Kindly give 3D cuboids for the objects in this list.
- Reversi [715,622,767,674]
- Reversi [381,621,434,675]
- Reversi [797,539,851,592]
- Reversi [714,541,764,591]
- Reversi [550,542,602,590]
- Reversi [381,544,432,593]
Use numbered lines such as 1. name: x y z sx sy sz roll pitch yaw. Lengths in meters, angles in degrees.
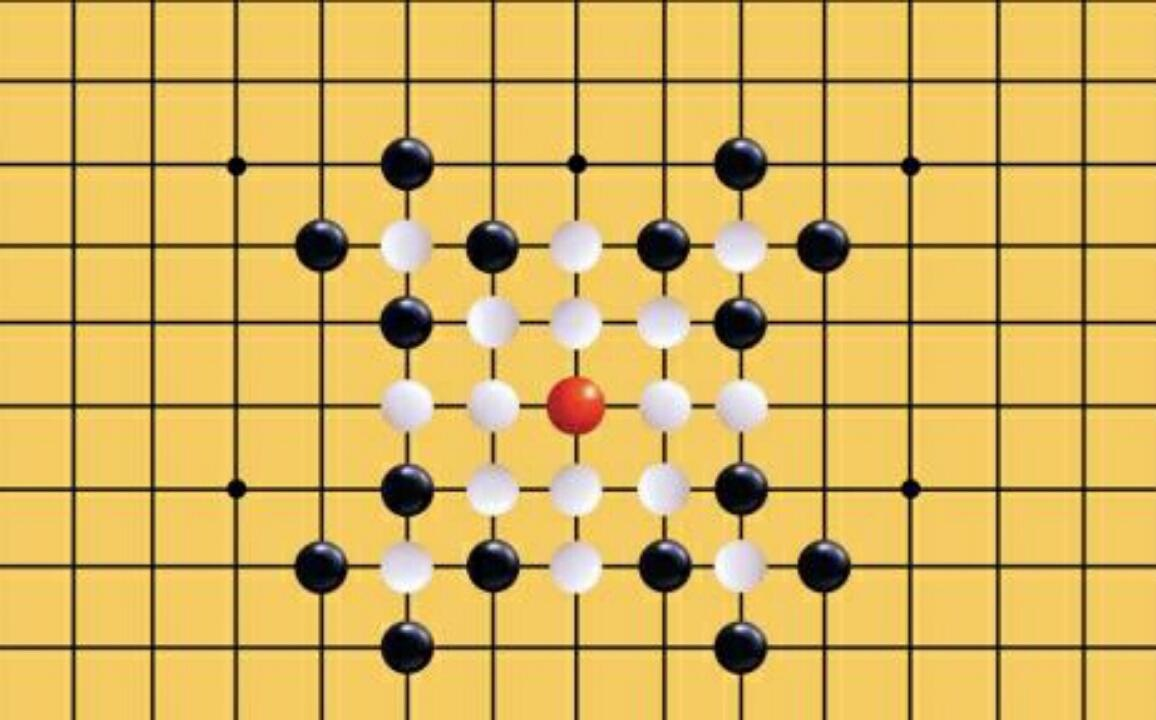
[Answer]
1. Reversi: 0.352 0.627 4.594 0.104 0.061 0.108 -7 -91 11
2. Reversi: -0.373 0.624 4.655 0.104 0.107 0.126 2 -87 2
3. Reversi: 0.536 0.460 4.637 0.109 0.113 0.129 0 -87 2
4. Reversi: 0.352 0.451 4.610 0.107 0.038 0.104 -23 -86 1
5. Reversi: -0.005 0.452 4.587 0.095 0.054 0.099 6 -91 -7
6. Reversi: -0.376 0.453 4.622 0.108 0.068 0.104 -1 -86 0
